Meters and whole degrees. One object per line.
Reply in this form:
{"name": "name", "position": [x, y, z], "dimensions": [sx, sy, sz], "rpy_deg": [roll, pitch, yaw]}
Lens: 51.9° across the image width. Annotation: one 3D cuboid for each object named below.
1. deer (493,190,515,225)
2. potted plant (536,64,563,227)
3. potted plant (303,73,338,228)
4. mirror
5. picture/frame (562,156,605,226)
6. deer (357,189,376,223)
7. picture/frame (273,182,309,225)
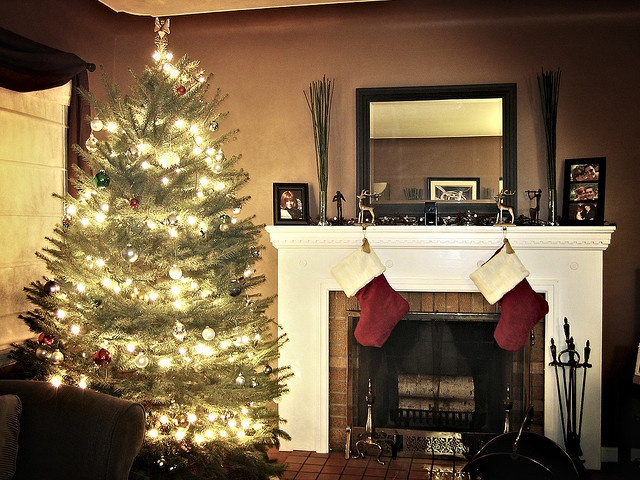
{"name": "deer", "position": [1.155, -0.206, 4.110], "dimensions": [0.129, 0.221, 0.117], "rpy_deg": [2, 8, 8]}
{"name": "potted plant", "position": [1.456, -0.602, 4.216], "dimensions": [0.157, 1.032, 0.227], "rpy_deg": [1, -6, 18]}
{"name": "potted plant", "position": [-0.030, -0.606, 4.393], "dimensions": [0.211, 1.034, 0.174], "rpy_deg": [3, -5, -3]}
{"name": "mirror", "position": [0.811, -0.593, 4.343], "dimensions": [0.917, 0.772, 0.070], "rpy_deg": [0, 1, 7]}
{"name": "picture/frame", "position": [1.668, -0.302, 4.159], "dimensions": [0.248, 0.451, 0.027], "rpy_deg": [1, -16, 30]}
{"name": "deer", "position": [0.302, -0.221, 4.257], "dimensions": [0.128, 0.258, 0.322], "rpy_deg": [3, -6, 4]}
{"name": "picture/frame", "position": [-0.190, -0.237, 4.395], "dimensions": [0.277, 0.327, 0.024], "rpy_deg": [0, -3, 3]}
